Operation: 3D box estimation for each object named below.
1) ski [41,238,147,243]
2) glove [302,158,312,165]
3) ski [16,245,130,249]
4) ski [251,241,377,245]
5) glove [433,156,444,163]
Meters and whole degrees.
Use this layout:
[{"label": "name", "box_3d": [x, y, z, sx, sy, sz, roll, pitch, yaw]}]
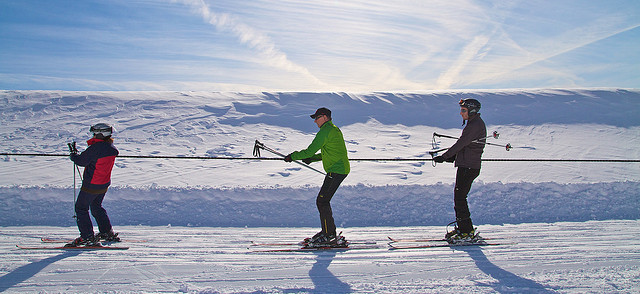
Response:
[{"label": "ski", "box_3d": [-12.496, 5.000, 39.206, 4.828, 0.206, 0.235, 0, 8, 0]}, {"label": "glove", "box_3d": [-0.780, 0.722, 39.352, 0.468, 0.313, 0.592, 0, 7, -1]}, {"label": "ski", "box_3d": [-13.197, 5.326, 38.808, 5.567, 0.159, 0.187, 0, 8, 0]}, {"label": "ski", "box_3d": [-0.635, 5.154, 39.247, 6.109, 0.141, 0.277, 0, 7, 0]}, {"label": "glove", "box_3d": [6.248, 0.650, 39.289, 0.552, 0.328, 0.331, 2, 8, 16]}]
